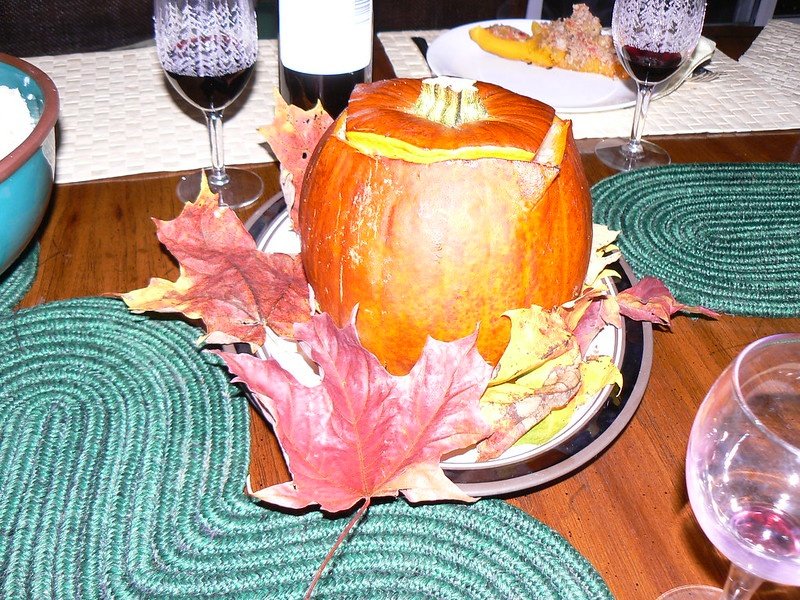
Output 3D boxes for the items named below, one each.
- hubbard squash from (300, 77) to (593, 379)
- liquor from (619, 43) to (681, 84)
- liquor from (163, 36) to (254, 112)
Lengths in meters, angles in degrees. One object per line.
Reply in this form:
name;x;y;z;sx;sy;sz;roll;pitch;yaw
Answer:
hubbard squash;0.059;-0.091;0.761;0.314;0.326;0.352;8;31;22
liquor;0.398;-0.375;1.044;0.065;0.049;0.071;-4;52;-14
liquor;-0.283;-0.338;0.959;0.138;0.125;0.152;-6;29;-11
